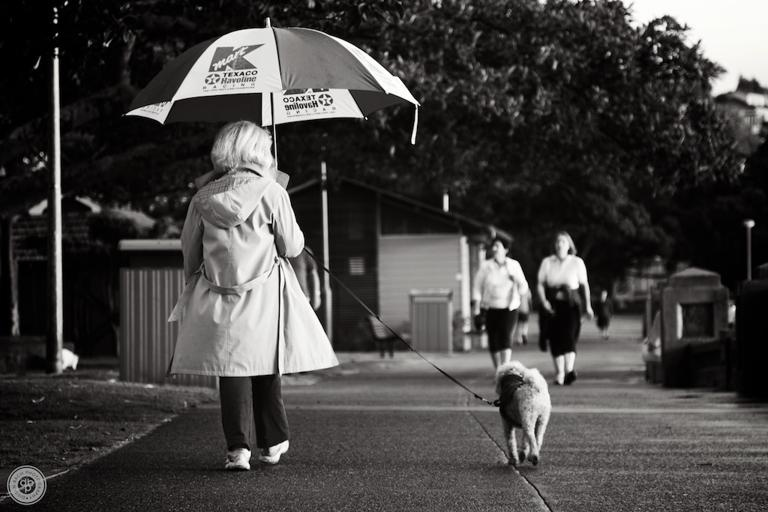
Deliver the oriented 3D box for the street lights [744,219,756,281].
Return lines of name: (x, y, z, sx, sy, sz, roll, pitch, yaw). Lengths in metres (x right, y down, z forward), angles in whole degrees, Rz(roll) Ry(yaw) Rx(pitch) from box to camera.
street lights: (4.256, -0.079, 15.402, 0.127, 0.664, 0.391, 1, 8, 9)

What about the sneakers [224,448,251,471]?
sneakers: (-1.476, 2.042, 13.404, 0.272, 0.238, 0.285, -1, 8, -9)

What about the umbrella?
umbrella: (-1.031, -1.950, 14.653, 2.086, 0.911, 2.093, -5, -4, 42)

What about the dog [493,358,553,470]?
dog: (1.465, 1.691, 13.733, 0.509, 1.150, 1.342, 3, -7, -6)

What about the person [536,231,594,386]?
person: (2.514, 0.666, 18.155, 0.679, 2.140, 1.016, -1, 8, -8)

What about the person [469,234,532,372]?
person: (1.606, 0.719, 18.756, 0.761, 1.882, 0.783, 4, 9, 27)

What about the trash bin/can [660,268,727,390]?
trash bin/can: (3.748, 0.863, 15.975, 0.793, 1.342, 0.717, 2, 8, 13)

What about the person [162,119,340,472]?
person: (-1.393, 0.408, 13.380, 1.497, 3.491, 0.672, -1, 8, -7)

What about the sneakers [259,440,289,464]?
sneakers: (-1.115, 2.034, 13.577, 0.176, 0.153, 0.342, 4, 24, 28)

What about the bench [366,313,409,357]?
bench: (0.045, 1.484, 25.463, 0.640, 0.652, 0.485, 0, 11, 10)

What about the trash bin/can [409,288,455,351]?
trash bin/can: (0.919, 1.387, 27.364, 1.046, 1.596, 1.070, -1, -2, 4)
